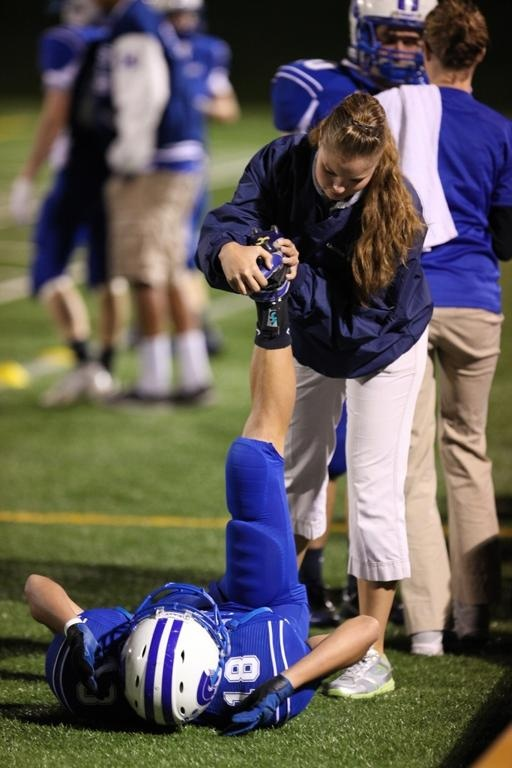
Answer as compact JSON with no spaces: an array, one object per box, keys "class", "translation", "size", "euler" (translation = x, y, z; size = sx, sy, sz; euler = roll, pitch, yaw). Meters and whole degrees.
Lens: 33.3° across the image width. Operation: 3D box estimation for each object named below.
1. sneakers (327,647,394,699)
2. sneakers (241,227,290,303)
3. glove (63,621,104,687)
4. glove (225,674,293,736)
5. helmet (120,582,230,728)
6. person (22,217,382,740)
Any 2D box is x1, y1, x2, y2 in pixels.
[{"class":"sneakers","translation":[0.239,0.635,1.876],"size":[0.077,0.083,0.216],"euler":[-3,-8,39]},{"class":"sneakers","translation":[0.011,-0.223,1.660],"size":[0.058,0.148,0.067],"euler":[-12,-9,23]},{"class":"glove","translation":[-0.316,0.483,1.541],"size":[0.035,0.059,0.107],"euler":[-12,43,-4]},{"class":"glove","translation":[0.000,0.573,1.539],"size":[0.072,0.061,0.196],"euler":[-26,-8,14]},{"class":"helmet","translation":[-0.165,0.490,1.564],"size":[0.212,0.181,0.260],"euler":[12,27,5]},{"class":"person","translation":[-0.082,0.177,1.652],"size":[0.611,0.942,0.448],"euler":[0,4,-27]}]
